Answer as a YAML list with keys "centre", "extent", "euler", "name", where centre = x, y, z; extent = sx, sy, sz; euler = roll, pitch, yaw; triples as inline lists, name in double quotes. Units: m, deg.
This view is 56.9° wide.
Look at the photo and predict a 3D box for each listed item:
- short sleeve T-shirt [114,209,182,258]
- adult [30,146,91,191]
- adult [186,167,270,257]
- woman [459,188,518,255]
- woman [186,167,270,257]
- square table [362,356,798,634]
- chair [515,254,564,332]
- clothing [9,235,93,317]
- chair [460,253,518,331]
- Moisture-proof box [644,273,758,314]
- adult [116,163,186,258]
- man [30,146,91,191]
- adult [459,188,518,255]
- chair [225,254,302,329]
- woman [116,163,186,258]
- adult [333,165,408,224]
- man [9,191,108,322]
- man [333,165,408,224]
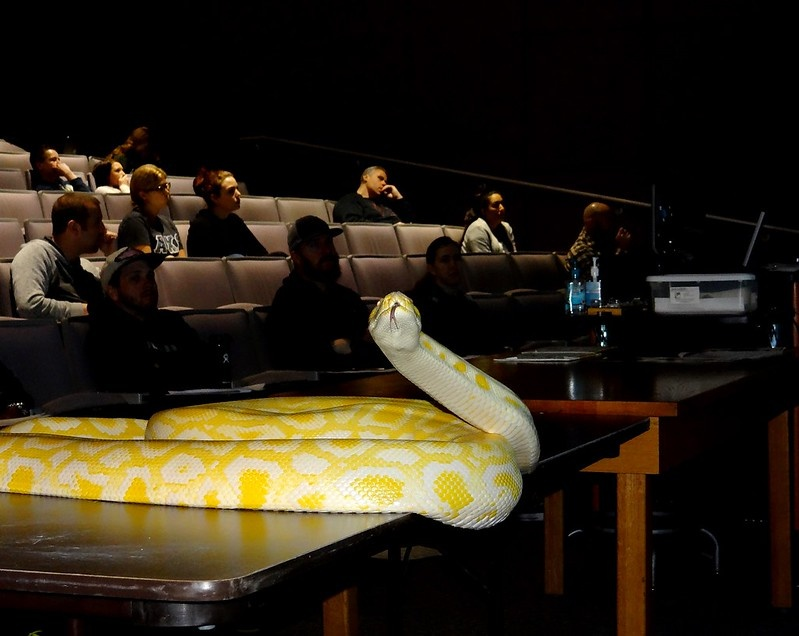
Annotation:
- centre: [-1.993, -0.666, 5.899]
  extent: [0.325, 0.360, 0.612]
  euler: [-7, -2, 20]
  name: "short sleeve T-shirt"
- centre: [-3.713, -1.579, 8.085]
  extent: [0.578, 0.499, 1.270]
  euler: [-1, 5, -26]
  name: "adult"
- centre: [-1.520, -0.874, 6.639]
  extent: [0.787, 0.881, 0.609]
  euler: [5, 16, 6]
  name: "adult"
- centre: [1.050, -1.036, 8.805]
  extent: [0.614, 0.822, 0.900]
  euler: [-4, 4, 35]
  name: "woman"
- centre: [-1.514, -0.874, 6.632]
  extent: [0.804, 0.892, 0.641]
  euler: [1, 14, -6]
  name: "woman"
- centre: [0.589, 0.584, 2.245]
  extent: [1.107, 0.770, 1.088]
  euler: [0, -5, -4]
  name: "square table"
- centre: [1.495, -0.526, 8.023]
  extent: [0.546, 0.639, 1.691]
  euler: [0, 20, 11]
  name: "chair"
- centre: [-2.017, -0.228, 4.286]
  extent: [0.315, 0.277, 0.556]
  euler: [-2, 1, 14]
  name: "clothing"
- centre: [0.932, -0.202, 7.039]
  extent: [0.636, 0.810, 0.630]
  euler: [-8, 5, -5]
  name: "chair"
- centre: [1.391, -0.080, 3.379]
  extent: [0.335, 0.119, 0.237]
  euler: [-2, -1, 22]
  name: "Moisture-proof box"
- centre: [-1.954, -0.848, 5.770]
  extent: [0.460, 0.710, 0.892]
  euler: [0, 5, -14]
  name: "adult"
- centre: [-3.788, -1.561, 8.162]
  extent: [0.613, 0.299, 0.794]
  euler: [10, -7, -8]
  name: "man"
- centre: [1.058, -1.036, 8.805]
  extent: [0.615, 0.834, 0.914]
  euler: [-5, 3, 37]
  name: "adult"
- centre: [-0.986, -0.270, 5.303]
  extent: [0.460, 0.419, 0.827]
  euler: [9, 8, 19]
  name: "chair"
- centre: [-1.954, -0.848, 5.770]
  extent: [0.460, 0.710, 0.892]
  euler: [0, 5, -14]
  name: "woman"
- centre: [-0.330, -1.433, 8.854]
  extent: [0.657, 0.757, 0.996]
  euler: [8, 9, 42]
  name: "adult"
- centre: [-2.037, -0.389, 4.480]
  extent: [0.576, 0.695, 0.900]
  euler: [10, 9, -5]
  name: "man"
- centre: [-0.329, -1.428, 8.860]
  extent: [0.653, 0.762, 0.980]
  euler: [9, 9, 41]
  name: "man"
